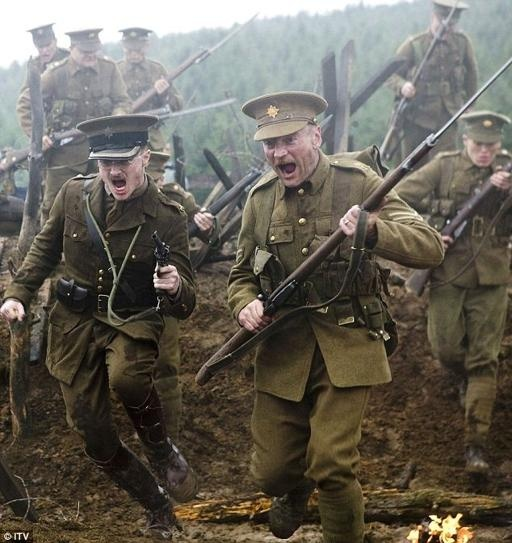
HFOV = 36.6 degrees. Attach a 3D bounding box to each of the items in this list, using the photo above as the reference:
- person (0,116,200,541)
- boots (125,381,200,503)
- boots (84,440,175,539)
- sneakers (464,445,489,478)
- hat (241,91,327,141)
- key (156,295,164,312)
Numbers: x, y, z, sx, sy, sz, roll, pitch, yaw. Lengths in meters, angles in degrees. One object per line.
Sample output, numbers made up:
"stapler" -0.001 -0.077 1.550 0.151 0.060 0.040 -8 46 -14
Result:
"person" -0.913 0.393 4.796 1.086 2.699 0.653 -5 6 -3
"boots" -0.640 1.188 5.162 0.264 0.819 0.574 -25 20 4
"boots" -0.812 1.460 5.023 0.208 0.664 0.293 -37 16 14
"sneakers" 1.589 1.430 5.709 0.191 0.348 0.222 -2 -14 8
"hat" 0.180 -0.922 4.561 0.365 0.166 0.372 -10 -9 24
"key" -0.569 0.190 4.553 0.030 0.082 0.057 -3 6 -21
